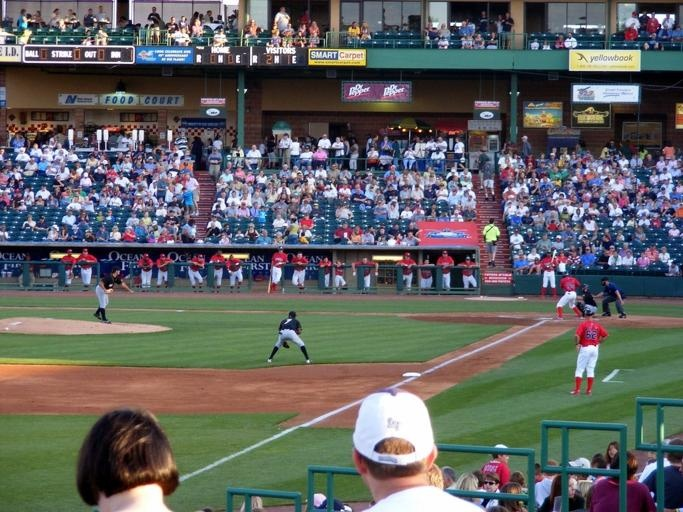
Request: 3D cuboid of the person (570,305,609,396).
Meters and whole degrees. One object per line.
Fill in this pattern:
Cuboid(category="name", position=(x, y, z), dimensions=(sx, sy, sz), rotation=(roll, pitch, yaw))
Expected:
Cuboid(category="person", position=(8.587, 3.363, 60.440), dimensions=(1.174, 3.123, 0.811), rotation=(2, 6, -2))

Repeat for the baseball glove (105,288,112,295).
Cuboid(category="baseball glove", position=(-9.310, 1.448, 70.212), dimensions=(0.340, 0.113, 0.333), rotation=(-15, -8, -39))
